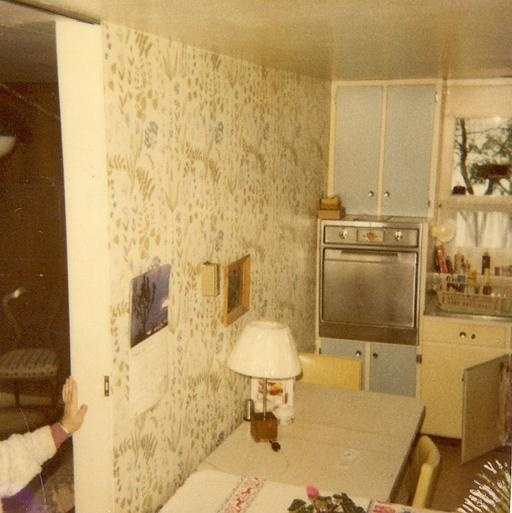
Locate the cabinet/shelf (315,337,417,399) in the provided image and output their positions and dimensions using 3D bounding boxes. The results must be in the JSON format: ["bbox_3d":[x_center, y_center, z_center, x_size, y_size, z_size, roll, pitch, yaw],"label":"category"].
[{"bbox_3d":[0.837,0.803,3.431,0.425,0.444,0.170,1,2,14],"label":"cabinet/shelf"}]

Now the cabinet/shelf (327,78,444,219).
[{"bbox_3d":[1.053,-0.906,3.829,0.867,1.349,0.447,3,9,20],"label":"cabinet/shelf"}]

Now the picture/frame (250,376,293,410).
[{"bbox_3d":[0.090,0.667,2.414,0.149,0.106,0.162,0,0,23],"label":"picture/frame"}]

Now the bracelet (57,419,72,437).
[{"bbox_3d":[-0.576,0.521,1.453,0.017,0.048,0.045,-27,46,-21],"label":"bracelet"}]
